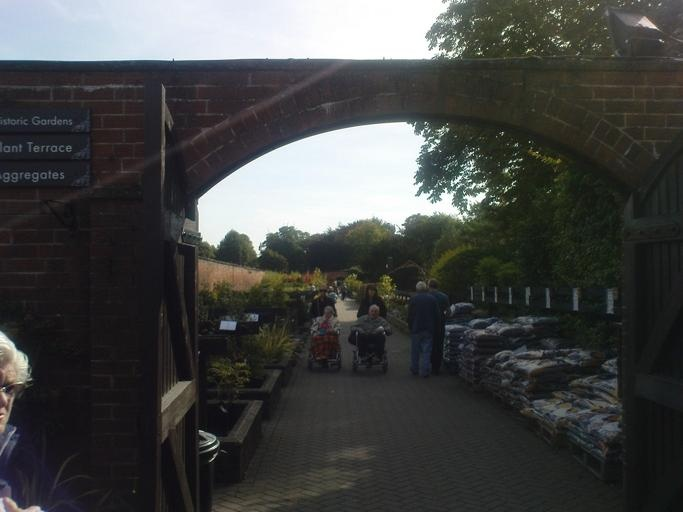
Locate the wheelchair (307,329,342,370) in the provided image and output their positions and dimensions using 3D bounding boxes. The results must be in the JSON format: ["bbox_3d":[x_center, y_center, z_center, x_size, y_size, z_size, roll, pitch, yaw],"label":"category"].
[{"bbox_3d":[-0.352,2.001,14.733,0.697,0.842,0.864,0,1,-3],"label":"wheelchair"}]

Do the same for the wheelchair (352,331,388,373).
[{"bbox_3d":[0.717,1.971,14.494,0.463,0.783,0.798,-2,-8,16],"label":"wheelchair"}]
